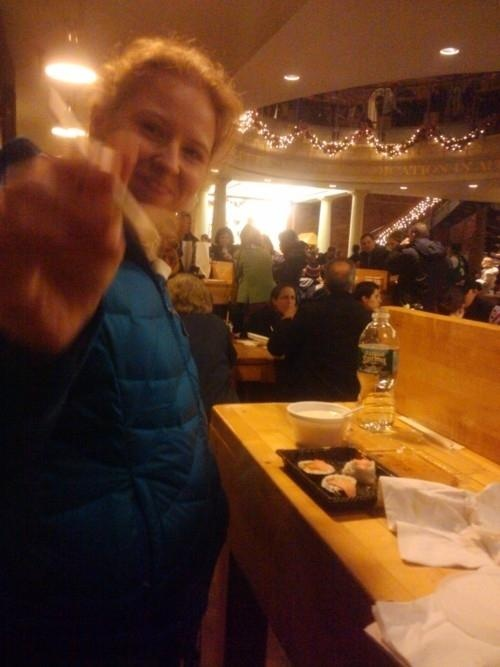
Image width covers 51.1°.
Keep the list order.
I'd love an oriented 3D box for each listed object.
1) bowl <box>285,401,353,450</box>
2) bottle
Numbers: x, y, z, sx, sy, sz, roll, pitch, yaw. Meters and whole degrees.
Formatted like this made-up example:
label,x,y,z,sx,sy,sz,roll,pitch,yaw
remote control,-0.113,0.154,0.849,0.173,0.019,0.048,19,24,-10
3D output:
label,x,y,z,sx,sy,sz,roll,pitch,yaw
bowl,0.155,0.177,1.147,0.130,0.096,0.125,8,10,-2
bottle,0.337,0.117,1.336,0.112,0.358,0.111,2,15,0
